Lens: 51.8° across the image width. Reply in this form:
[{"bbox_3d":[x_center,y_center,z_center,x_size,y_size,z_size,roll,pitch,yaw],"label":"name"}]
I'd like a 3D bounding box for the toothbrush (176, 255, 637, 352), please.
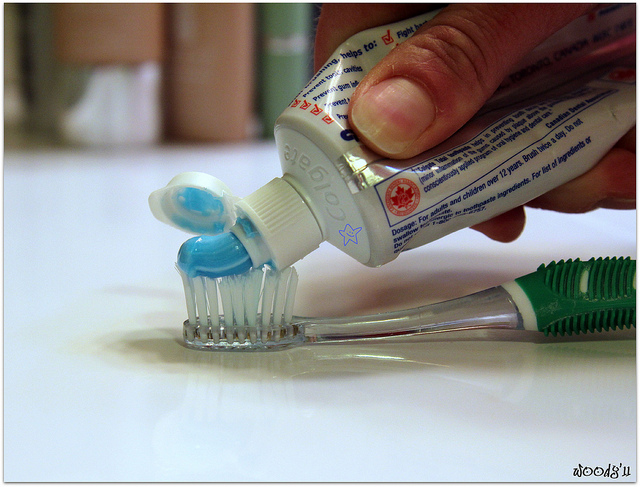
[{"bbox_3d":[0.070,0.048,0.523,0.366,0.077,0.032,1,-5,-2],"label":"toothbrush"}]
